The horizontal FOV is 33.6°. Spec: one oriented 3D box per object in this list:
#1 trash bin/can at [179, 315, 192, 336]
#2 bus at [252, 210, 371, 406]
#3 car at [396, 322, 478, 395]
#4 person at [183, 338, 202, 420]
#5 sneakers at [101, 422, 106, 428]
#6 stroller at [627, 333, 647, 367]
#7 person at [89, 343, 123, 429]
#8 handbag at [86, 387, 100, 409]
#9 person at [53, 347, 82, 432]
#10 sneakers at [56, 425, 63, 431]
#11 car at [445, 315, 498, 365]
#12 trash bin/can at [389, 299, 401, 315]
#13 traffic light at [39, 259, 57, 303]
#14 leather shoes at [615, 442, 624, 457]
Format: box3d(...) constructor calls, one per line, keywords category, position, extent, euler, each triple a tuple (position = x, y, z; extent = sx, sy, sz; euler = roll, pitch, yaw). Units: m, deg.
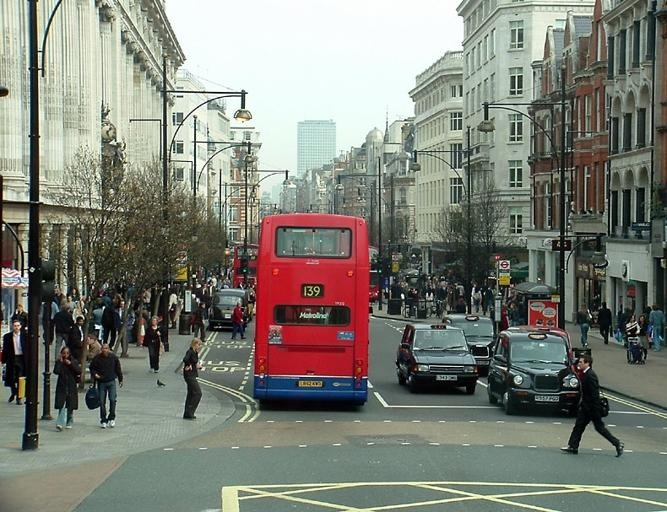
box3d(category="trash bin/can", position=(-7.062, 3.283, 52.734), extent=(0.712, 1.277, 0.750), euler=(1, -2, -9))
box3d(category="bus", position=(-0.528, 1.499, 31.072), extent=(1.777, 4.030, 7.058), euler=(0, 7, -3))
box3d(category="car", position=(3.405, 3.356, 35.876), extent=(2.292, 2.239, 2.526), euler=(0, -1, -3))
box3d(category="person", position=(-3.896, 3.377, 30.452), extent=(0.463, 2.184, 1.048), euler=(0, -1, -8))
box3d(category="sneakers", position=(-5.959, 4.400, 28.683), extent=(0.079, 0.127, 0.264), euler=(3, -12, -13))
box3d(category="stroller", position=(11.800, 3.627, 42.770), extent=(0.607, 1.173, 1.076), euler=(0, -2, 1))
box3d(category="person", position=(-5.931, 3.381, 28.835), extent=(0.753, 2.177, 0.905), euler=(0, -1, -21))
box3d(category="handbag", position=(-6.191, 3.656, 28.439), extent=(0.363, 0.581, 0.398), euler=(1, -1, -15))
box3d(category="person", position=(-6.904, 3.415, 28.637), extent=(0.640, 2.134, 1.201), euler=(0, -1, -15))
box3d(category="sneakers", position=(-7.001, 4.400, 28.284), extent=(0.102, 0.187, 0.059), euler=(1, 5, -1))
box3d(category="car", position=(5.237, 3.114, 41.516), extent=(1.674, 1.943, 3.618), euler=(-1, 6, -1))
box3d(category="trash bin/can", position=(3.910, 3.233, 69.944), extent=(0.921, 1.175, 0.762), euler=(0, -2, -1))
box3d(category="traffic light", position=(-7.023, 0.610, 27.153), extent=(0.327, 0.994, 0.764), euler=(0, -1, -15))
box3d(category="leather shoes", position=(6.735, 4.528, 25.997), extent=(0.147, 0.236, 0.455), euler=(-16, 5, 13))
